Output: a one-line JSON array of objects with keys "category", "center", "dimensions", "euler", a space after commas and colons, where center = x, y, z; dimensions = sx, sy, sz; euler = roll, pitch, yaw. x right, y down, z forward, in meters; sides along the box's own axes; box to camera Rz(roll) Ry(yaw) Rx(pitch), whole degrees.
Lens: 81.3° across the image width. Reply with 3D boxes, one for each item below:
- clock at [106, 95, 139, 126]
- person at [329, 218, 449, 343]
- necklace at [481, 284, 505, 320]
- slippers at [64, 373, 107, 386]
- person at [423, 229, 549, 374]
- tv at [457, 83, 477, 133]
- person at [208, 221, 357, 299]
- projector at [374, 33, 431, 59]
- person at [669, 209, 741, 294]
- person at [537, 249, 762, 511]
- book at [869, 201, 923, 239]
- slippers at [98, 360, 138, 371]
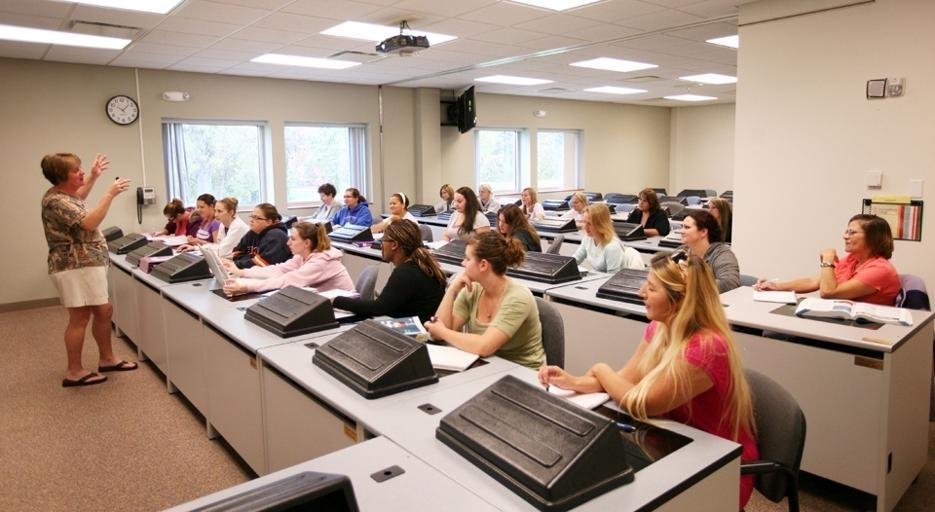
[{"category": "clock", "center": [-5.496, -2.289, 8.658], "dimensions": [0.550, 0.496, 0.071], "euler": [-6, 2, -35]}, {"category": "person", "center": [-0.509, 0.149, 4.524], "dimensions": [1.064, 1.144, 0.710], "euler": [4, 5, 6]}, {"category": "necklace", "center": [0.217, 0.367, 4.154], "dimensions": [0.074, 0.252, 0.193], "euler": [15, -8, -38]}, {"category": "slippers", "center": [-4.007, 1.307, 5.710], "dimensions": [0.315, 0.084, 0.167], "euler": [-2, 7, -22]}, {"category": "person", "center": [0.146, 0.329, 4.084], "dimensions": [0.874, 0.987, 0.569], "euler": [1, 10, 7]}, {"category": "tv", "center": [-0.011, -2.876, 10.840], "dimensions": [0.214, 0.738, 0.872], "euler": [-1, 6, -14]}, {"category": "person", "center": [-1.712, 0.070, 5.176], "dimensions": [1.254, 0.835, 0.695], "euler": [-8, 8, -23]}, {"category": "projector", "center": [-0.800, -2.614, 6.771], "dimensions": [0.421, 0.214, 0.614], "euler": [-6, 11, -30]}, {"category": "person", "center": [2.121, -0.040, 4.768], "dimensions": [0.466, 0.622, 0.733], "euler": [-15, -19, 7]}, {"category": "person", "center": [1.231, 0.629, 3.449], "dimensions": [1.171, 1.246, 0.409], "euler": [0, 10, 6]}, {"category": "book", "center": [4.290, -0.337, 5.430], "dimensions": [0.058, 0.328, 0.423], "euler": [-10, 15, -41]}, {"category": "slippers", "center": [-3.808, 1.228, 5.952], "dimensions": [0.294, 0.078, 0.155], "euler": [-2, 7, -20]}]
